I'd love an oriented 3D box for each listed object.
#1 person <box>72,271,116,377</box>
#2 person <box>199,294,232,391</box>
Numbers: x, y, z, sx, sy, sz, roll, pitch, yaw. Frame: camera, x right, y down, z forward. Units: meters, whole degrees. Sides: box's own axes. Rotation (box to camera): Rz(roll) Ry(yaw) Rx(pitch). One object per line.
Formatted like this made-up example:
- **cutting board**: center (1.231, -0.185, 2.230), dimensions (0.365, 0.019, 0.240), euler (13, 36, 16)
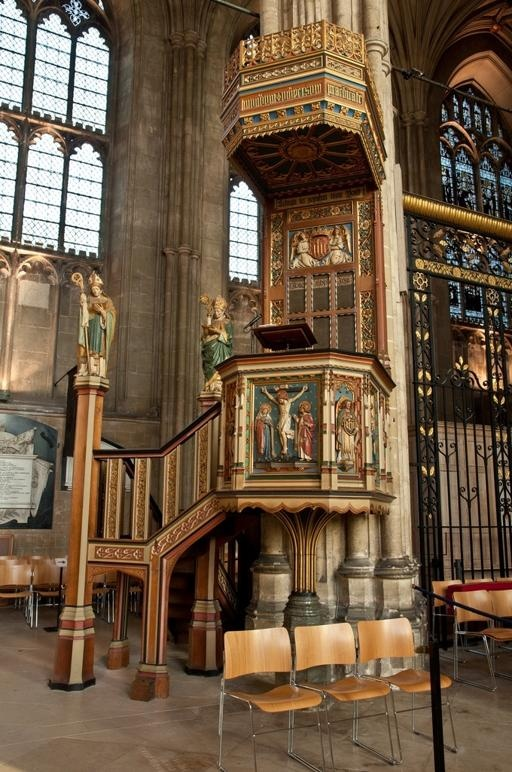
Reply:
- **person**: center (-1.427, -0.550, 6.155), dimensions (0.301, 0.948, 0.368), euler (4, -7, -14)
- **person**: center (-0.419, -0.429, 7.314), dimensions (0.302, 1.066, 0.469), euler (2, -7, -4)
